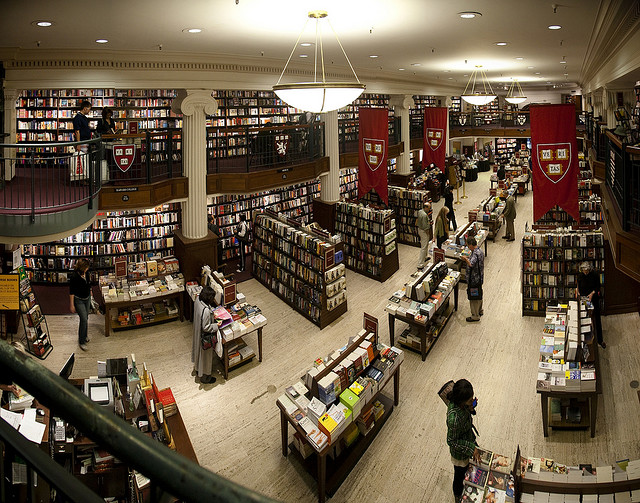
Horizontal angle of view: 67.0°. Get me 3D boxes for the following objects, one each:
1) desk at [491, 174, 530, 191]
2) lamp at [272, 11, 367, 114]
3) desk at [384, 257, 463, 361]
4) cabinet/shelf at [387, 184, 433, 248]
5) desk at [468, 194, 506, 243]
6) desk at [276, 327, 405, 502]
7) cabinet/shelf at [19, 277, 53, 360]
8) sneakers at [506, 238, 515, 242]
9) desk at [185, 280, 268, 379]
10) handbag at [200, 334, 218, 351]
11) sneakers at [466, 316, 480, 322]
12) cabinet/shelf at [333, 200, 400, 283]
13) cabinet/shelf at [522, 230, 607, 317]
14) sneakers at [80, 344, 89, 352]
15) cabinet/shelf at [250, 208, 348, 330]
[{"bbox_3d":[8.233,-3.017,20.739,0.924,0.590,0.799,5,13,30],"label":"desk"},{"bbox_3d":[0.004,-2.514,6.384,1.167,1.416,1.205,-4,6,-27],"label":"lamp"},{"bbox_3d":[2.041,1.004,9.204,0.635,1.071,1.672,-12,15,35],"label":"desk"},{"bbox_3d":[2.620,-1.009,14.239,0.545,1.696,1.551,-7,11,-34],"label":"cabinet/shelf"},{"bbox_3d":[5.157,-1.006,14.800,0.504,0.843,1.459,5,19,29],"label":"desk"},{"bbox_3d":[0.319,2.077,6.524,0.878,1.219,1.852,12,22,41],"label":"desk"},{"bbox_3d":[-5.111,1.136,8.620,0.414,1.427,0.429,-8,22,-24],"label":"cabinet/shelf"},{"bbox_3d":[5.879,-0.394,14.923,0.258,0.124,0.094,6,12,33],"label":"sneakers"},{"bbox_3d":[-1.618,1.202,8.447,1.234,1.519,1.108,-17,33,-42],"label":"desk"},{"bbox_3d":[-1.840,1.461,7.918,0.107,0.278,0.249,3,9,36],"label":"handbag"},{"bbox_3d":[3.089,1.319,9.724,0.230,0.127,0.116,3,3,8],"label":"sneakers"},{"bbox_3d":[1.102,-0.479,13.001,1.743,1.934,0.682,18,32,35],"label":"cabinet/shelf"},{"bbox_3d":[4.840,0.633,9.799,0.562,1.830,1.675,25,-9,-11],"label":"cabinet/shelf"},{"bbox_3d":[-4.330,1.723,8.897,0.228,0.104,0.074,29,17,33],"label":"sneakers"},{"bbox_3d":[-0.622,0.121,10.962,0.810,1.876,2.458,-15,28,-40],"label":"cabinet/shelf"}]
